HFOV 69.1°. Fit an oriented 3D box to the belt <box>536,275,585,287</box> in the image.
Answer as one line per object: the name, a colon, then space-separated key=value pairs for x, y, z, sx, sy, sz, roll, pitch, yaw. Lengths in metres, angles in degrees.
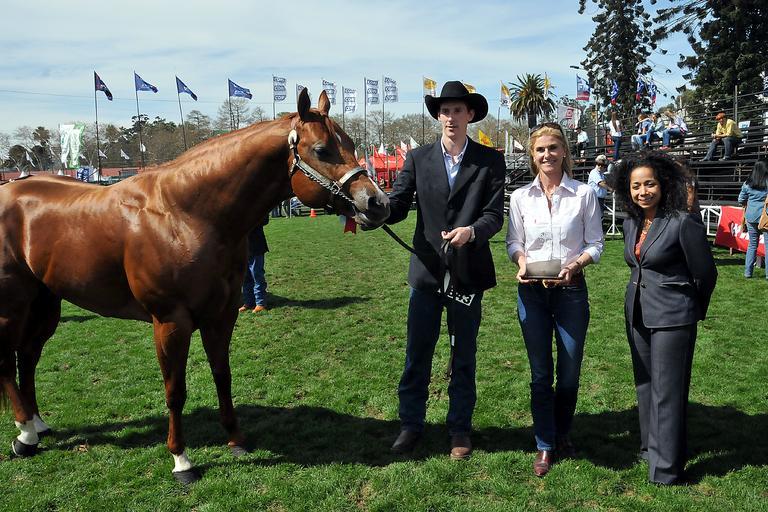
belt: x=1.720 y=0.242 z=5.343 sx=0.261 sy=0.086 sz=0.204 roll=0 pitch=2 yaw=10

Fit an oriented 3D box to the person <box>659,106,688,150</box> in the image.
person: x=10.591 y=-4.645 z=20.356 sx=0.735 sy=1.391 sz=1.346 roll=2 pitch=10 yaw=25

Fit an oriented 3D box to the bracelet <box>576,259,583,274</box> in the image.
bracelet: x=1.867 y=0.103 z=5.350 sx=0.035 sy=0.101 sz=0.100 roll=7 pitch=0 yaw=1

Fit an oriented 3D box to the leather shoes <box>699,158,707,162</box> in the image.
leather shoes: x=10.649 y=-3.202 z=18.552 sx=0.332 sy=0.133 sz=0.117 roll=3 pitch=9 yaw=18

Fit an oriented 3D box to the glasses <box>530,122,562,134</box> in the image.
glasses: x=1.583 y=-1.256 z=5.472 sx=0.289 sy=0.106 sz=0.201 roll=1 pitch=10 yaw=18

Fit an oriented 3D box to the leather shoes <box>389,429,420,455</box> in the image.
leather shoes: x=0.210 y=1.926 z=5.768 sx=0.144 sy=0.155 sz=0.360 roll=1 pitch=-1 yaw=42

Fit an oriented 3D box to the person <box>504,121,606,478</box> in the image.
person: x=1.680 y=0.375 z=5.511 sx=0.913 sy=3.334 sz=0.738 roll=0 pitch=9 yaw=12

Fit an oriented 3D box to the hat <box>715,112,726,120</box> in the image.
hat: x=10.574 y=-4.424 z=17.456 sx=0.324 sy=0.130 sz=0.223 roll=-18 pitch=4 yaw=-32

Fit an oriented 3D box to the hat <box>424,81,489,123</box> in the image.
hat: x=0.715 y=-1.551 z=5.598 sx=0.612 sy=0.385 sz=0.777 roll=-1 pitch=10 yaw=8

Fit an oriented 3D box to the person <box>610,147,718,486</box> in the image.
person: x=2.629 y=0.562 z=5.385 sx=0.684 sy=3.076 sz=0.783 roll=-8 pitch=11 yaw=-31

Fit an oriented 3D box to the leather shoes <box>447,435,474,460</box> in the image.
leather shoes: x=0.779 y=1.939 z=5.658 sx=0.228 sy=0.190 sz=0.198 roll=-1 pitch=10 yaw=7

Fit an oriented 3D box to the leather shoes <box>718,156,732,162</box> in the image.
leather shoes: x=10.855 y=-3.099 z=17.735 sx=0.451 sy=0.188 sz=0.147 roll=-2 pitch=-1 yaw=-38

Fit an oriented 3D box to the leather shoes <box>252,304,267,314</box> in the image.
leather shoes: x=-2.260 y=0.964 z=10.070 sx=0.169 sy=0.085 sz=0.264 roll=-24 pitch=-11 yaw=19
